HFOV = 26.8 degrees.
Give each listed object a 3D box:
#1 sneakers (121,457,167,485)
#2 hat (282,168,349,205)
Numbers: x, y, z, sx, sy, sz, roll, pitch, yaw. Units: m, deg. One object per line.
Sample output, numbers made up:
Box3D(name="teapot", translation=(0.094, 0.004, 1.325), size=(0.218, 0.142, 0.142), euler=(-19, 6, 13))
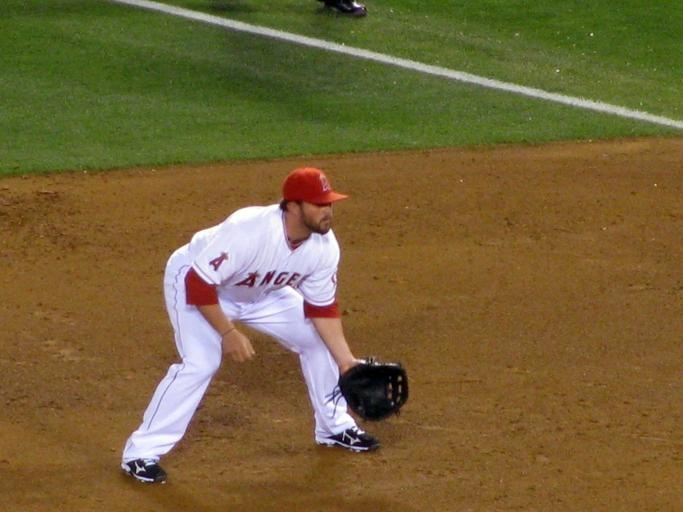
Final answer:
Box3D(name="sneakers", translation=(-1.965, 2.115, 14.195), size=(0.435, 0.175, 0.215), euler=(9, 17, 19))
Box3D(name="hat", translation=(-0.274, -0.682, 13.925), size=(0.531, 0.274, 0.345), euler=(0, 13, 12))
